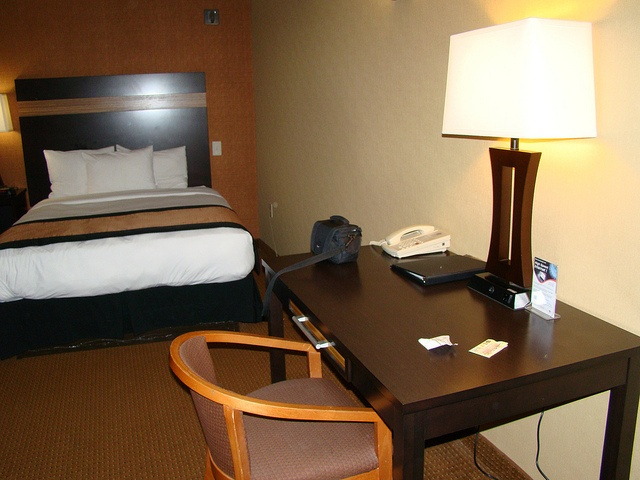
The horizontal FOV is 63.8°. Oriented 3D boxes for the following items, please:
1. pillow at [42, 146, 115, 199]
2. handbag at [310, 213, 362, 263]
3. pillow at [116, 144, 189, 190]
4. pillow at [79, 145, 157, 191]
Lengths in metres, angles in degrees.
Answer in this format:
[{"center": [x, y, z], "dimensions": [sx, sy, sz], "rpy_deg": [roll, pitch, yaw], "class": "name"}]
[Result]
[{"center": [-2.136, -0.600, 4.583], "dimensions": [0.468, 0.378, 0.172], "rpy_deg": [-3, 6, -9], "class": "pillow"}, {"center": [0.069, -0.012, 2.371], "dimensions": [0.147, 0.211, 0.272], "rpy_deg": [-3, 13, -28], "class": "handbag"}, {"center": [-1.559, -0.662, 4.774], "dimensions": [0.150, 0.439, 0.367], "rpy_deg": [-18, 4, 37], "class": "pillow"}, {"center": [-1.840, -0.568, 4.695], "dimensions": [0.747, 0.518, 0.238], "rpy_deg": [-12, 44, -33], "class": "pillow"}]
